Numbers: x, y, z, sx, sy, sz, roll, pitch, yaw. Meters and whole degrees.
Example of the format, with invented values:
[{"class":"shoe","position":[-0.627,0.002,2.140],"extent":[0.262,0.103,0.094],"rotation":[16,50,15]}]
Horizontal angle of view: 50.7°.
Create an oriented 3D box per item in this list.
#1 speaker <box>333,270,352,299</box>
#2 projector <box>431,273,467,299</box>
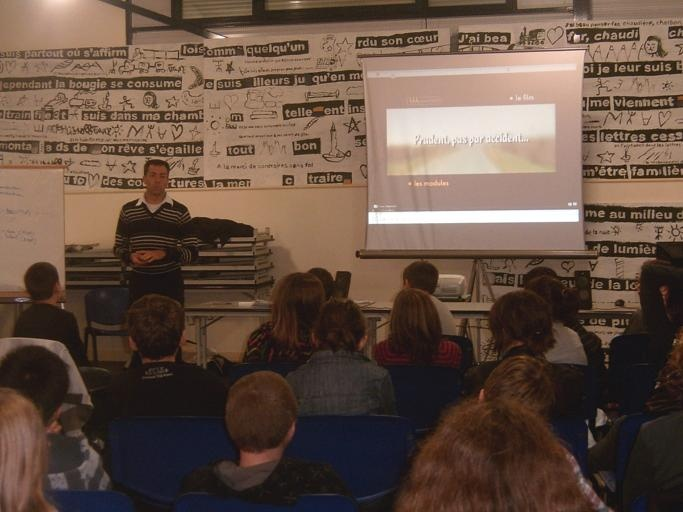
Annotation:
[{"class":"speaker","position":[0.007,0.225,5.584],"extent":[0.167,0.313,0.177],"rotation":[4,1,1]},{"class":"projector","position":[0.902,0.235,5.821],"extent":[0.179,0.136,0.249],"rotation":[2,6,23]}]
